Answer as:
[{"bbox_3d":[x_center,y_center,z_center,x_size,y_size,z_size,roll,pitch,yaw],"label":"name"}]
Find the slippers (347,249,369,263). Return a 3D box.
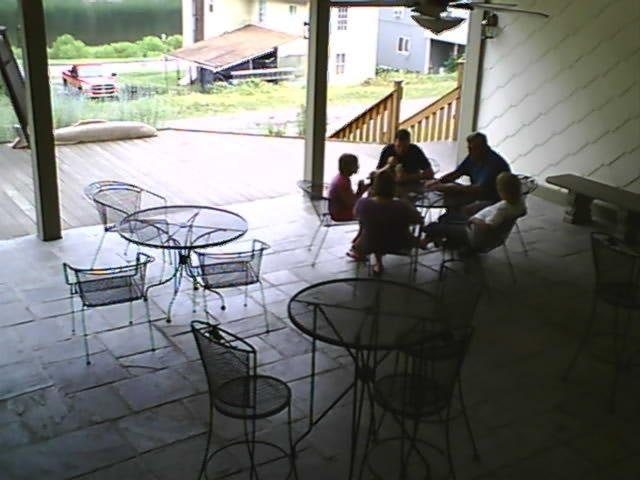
[{"bbox_3d":[0.442,0.189,6.441,0.310,0.142,0.101,13,37,19],"label":"slippers"}]

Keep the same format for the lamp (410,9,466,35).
[{"bbox_3d":[1.019,-1.867,4.748,0.452,0.188,0.286,4,26,4],"label":"lamp"}]

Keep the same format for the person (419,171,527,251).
[{"bbox_3d":[1.796,-0.530,6.424,1.004,1.304,0.593,-18,19,-19],"label":"person"}]

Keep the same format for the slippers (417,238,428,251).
[{"bbox_3d":[1.118,0.043,5.989,0.101,0.101,0.092,-36,48,-26],"label":"slippers"}]

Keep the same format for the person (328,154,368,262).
[{"bbox_3d":[0.355,-0.395,6.346,0.596,1.171,0.481,-6,17,-9],"label":"person"}]
